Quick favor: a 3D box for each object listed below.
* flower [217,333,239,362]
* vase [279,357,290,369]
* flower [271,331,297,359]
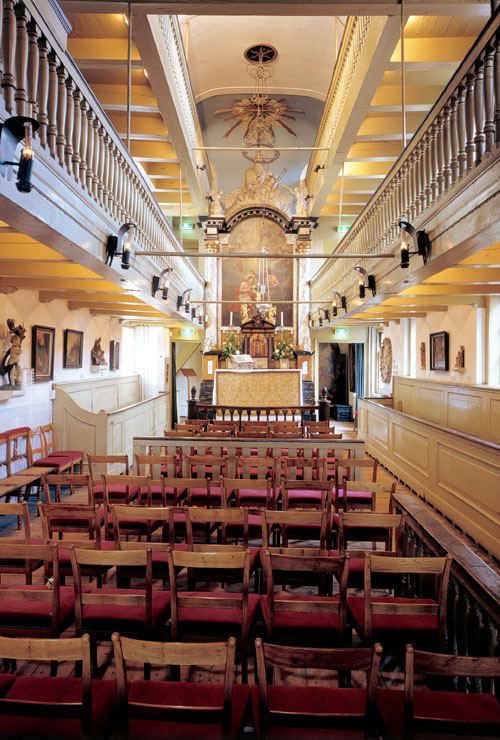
[{"bbox_3d":[-0.612,-0.679,15.412,0.602,0.887,0.865,0,-2,-1],"label":"flower"},{"bbox_3d":[0.995,-0.174,15.117,0.248,0.326,0.270,0,-3,1],"label":"vase"},{"bbox_3d":[0.972,-0.695,15.321,0.527,0.939,0.507,0,-5,2],"label":"flower"}]
